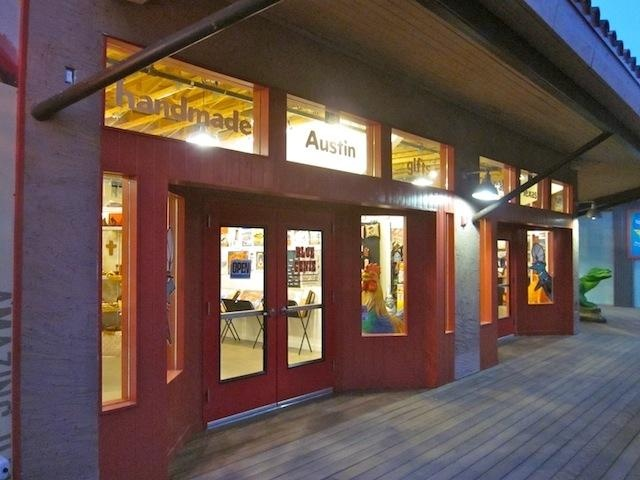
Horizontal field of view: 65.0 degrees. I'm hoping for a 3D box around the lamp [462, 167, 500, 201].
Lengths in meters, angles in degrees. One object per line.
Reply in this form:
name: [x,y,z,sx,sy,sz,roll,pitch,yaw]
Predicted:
lamp: [2.248,-0.789,7.095,0.429,0.435,0.513,5,-4,-40]
